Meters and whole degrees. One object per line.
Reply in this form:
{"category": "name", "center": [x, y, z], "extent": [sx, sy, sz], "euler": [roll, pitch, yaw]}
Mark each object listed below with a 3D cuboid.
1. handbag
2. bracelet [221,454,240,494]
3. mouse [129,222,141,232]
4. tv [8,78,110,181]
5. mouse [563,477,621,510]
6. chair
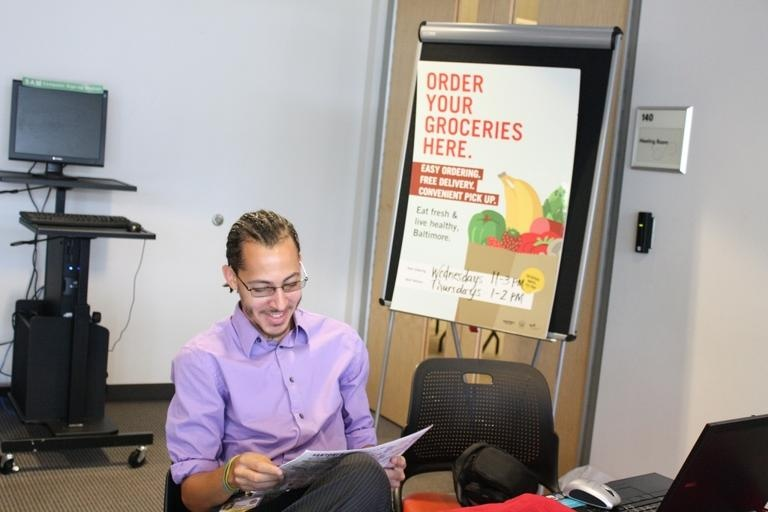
{"category": "handbag", "center": [0.401, 0.814, 2.090], "extent": [0.248, 0.209, 0.223], "euler": [24, -33, -38]}
{"category": "bracelet", "center": [-0.480, 0.678, 1.780], "extent": [0.035, 0.110, 0.075], "euler": [0, -4, 31]}
{"category": "mouse", "center": [-1.540, -0.180, 3.497], "extent": [0.055, 0.047, 0.063], "euler": [6, 11, -33]}
{"category": "tv", "center": [-2.220, -0.864, 3.815], "extent": [0.658, 0.728, 0.224], "euler": [4, -4, -17]}
{"category": "mouse", "center": [0.720, 0.806, 1.930], "extent": [0.158, 0.057, 0.091], "euler": [4, 6, 39]}
{"category": "chair", "center": [0.358, 0.752, 2.564], "extent": [0.532, 0.880, 0.601], "euler": [1, -1, -7]}
